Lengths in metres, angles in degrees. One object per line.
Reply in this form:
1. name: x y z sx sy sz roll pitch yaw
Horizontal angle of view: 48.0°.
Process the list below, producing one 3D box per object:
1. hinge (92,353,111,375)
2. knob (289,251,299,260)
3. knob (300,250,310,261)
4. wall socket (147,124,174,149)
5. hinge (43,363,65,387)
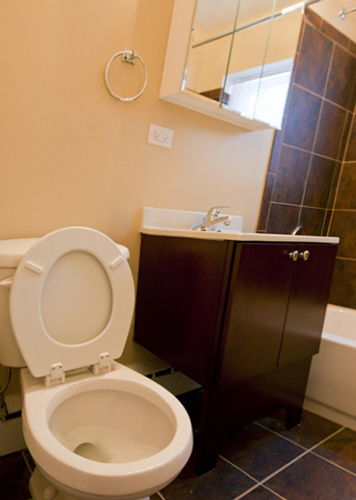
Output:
1. hinge: -0.216 0.323 1.151 0.042 0.058 0.058 0 0 -42
2. knob: 0.398 0.018 1.378 0.026 0.028 0.021 2 -15 45
3. knob: 0.450 0.017 1.413 0.026 0.036 0.017 4 -8 -20
4. wall socket: -0.075 -0.453 1.578 0.015 0.077 0.108 19 14 40
5. hinge: -0.325 0.329 1.062 0.062 0.062 0.050 -2 13 -34
